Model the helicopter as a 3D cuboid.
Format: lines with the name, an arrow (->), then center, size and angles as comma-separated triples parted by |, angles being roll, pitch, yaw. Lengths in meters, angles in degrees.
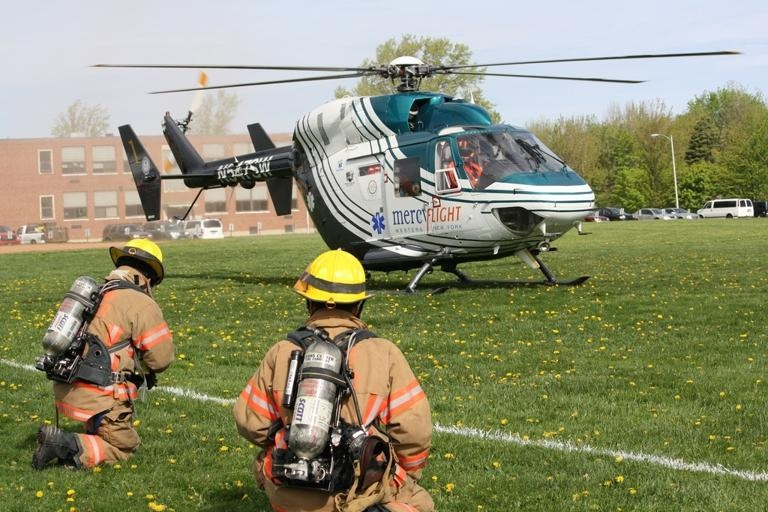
helicopter -> -0.729, -1.817, 23.433 | 9.783, 3.292, 8.718 | 1, 5, 40

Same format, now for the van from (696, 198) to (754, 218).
van -> 26.500, -3.638, 73.270 | 3.673, 1.531, 2.277 | 2, 0, 32

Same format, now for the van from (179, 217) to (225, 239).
van -> -13.914, -2.033, 70.628 | 3.090, 1.538, 2.060 | 6, 7, 39

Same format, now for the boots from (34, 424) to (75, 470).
boots -> -4.603, 2.659, 13.135 | 0.671, 0.627, 0.263 | -4, 5, 18
